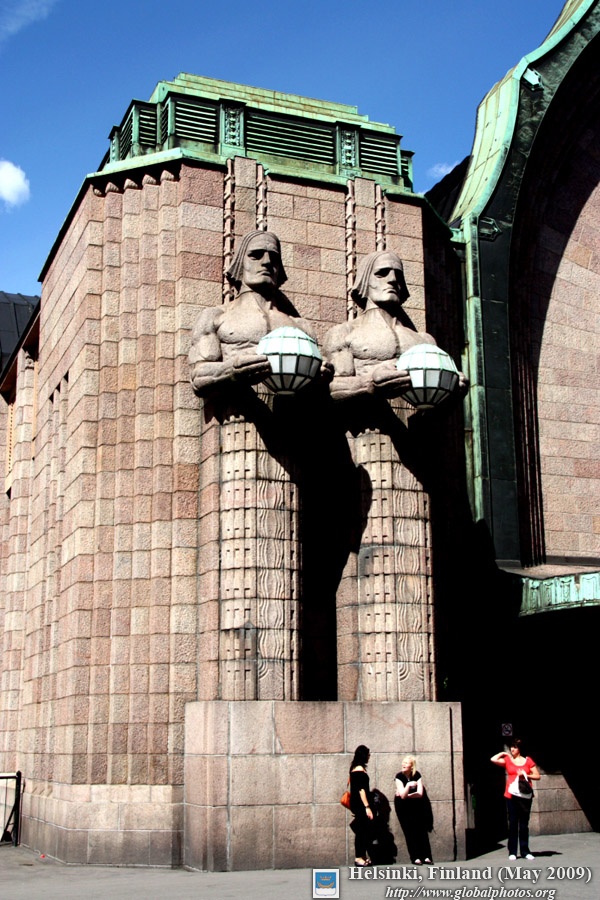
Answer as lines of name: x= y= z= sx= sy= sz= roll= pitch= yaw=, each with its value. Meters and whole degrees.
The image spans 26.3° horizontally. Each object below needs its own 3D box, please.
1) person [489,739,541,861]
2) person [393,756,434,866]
person: x=2.836 y=4.544 z=16.735 sx=0.517 sy=1.499 sz=1.108 roll=-4 pitch=-17 yaw=4
person: x=1.522 y=4.816 z=17.155 sx=0.508 sy=1.351 sz=0.903 roll=-4 pitch=-17 yaw=5
